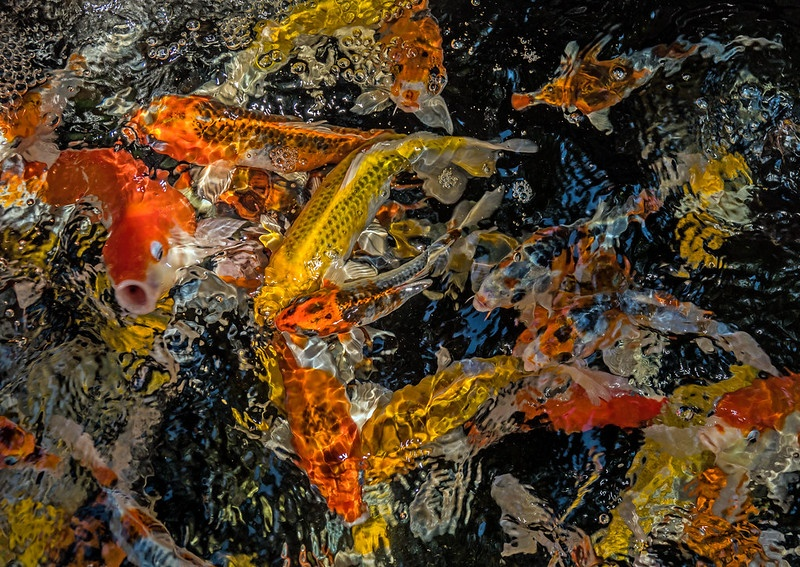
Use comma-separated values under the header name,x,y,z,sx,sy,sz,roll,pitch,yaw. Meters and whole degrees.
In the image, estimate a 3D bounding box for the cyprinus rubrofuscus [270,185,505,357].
name,x,y,z,sx,sy,sz,roll,pitch,yaw
cyprinus rubrofuscus,-0.088,-0.037,5.068,0.954,0.239,0.395,-36,10,-12

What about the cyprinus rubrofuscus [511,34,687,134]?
name,x,y,z,sx,sy,sz,roll,pitch,yaw
cyprinus rubrofuscus,1.088,-1.084,5.405,0.851,0.475,0.445,-19,73,8

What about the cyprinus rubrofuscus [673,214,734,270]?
name,x,y,z,sx,sy,sz,roll,pitch,yaw
cyprinus rubrofuscus,1.589,-0.230,5.138,0.266,0.205,0.199,5,36,14
